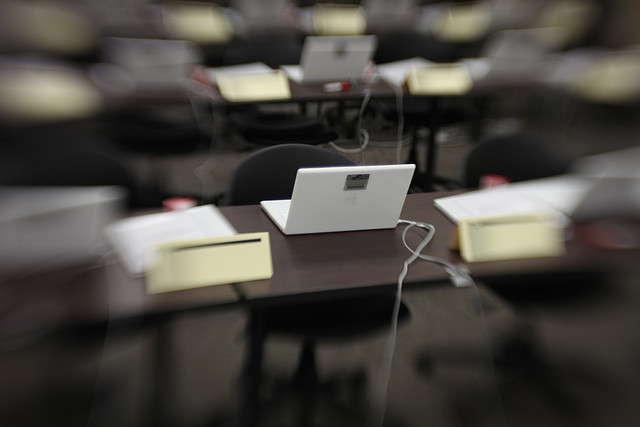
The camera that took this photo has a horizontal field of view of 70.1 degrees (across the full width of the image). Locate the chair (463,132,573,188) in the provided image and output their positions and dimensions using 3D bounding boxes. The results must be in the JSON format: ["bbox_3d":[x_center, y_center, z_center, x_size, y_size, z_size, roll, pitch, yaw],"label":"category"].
[{"bbox_3d":[0.695,-0.206,1.645,0.196,0.237,0.218,6,16,20],"label":"chair"}]

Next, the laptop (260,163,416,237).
[{"bbox_3d":[0.071,-0.038,1.153,0.265,0.149,0.233,-4,22,-15],"label":"laptop"}]

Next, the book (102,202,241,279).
[{"bbox_3d":[-0.386,0.038,1.110,0.221,0.041,0.202,-10,26,-23],"label":"book"}]

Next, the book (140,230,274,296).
[{"bbox_3d":[-0.256,0.098,1.041,0.283,0.144,0.129,-9,38,-9],"label":"book"}]

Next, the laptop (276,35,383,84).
[{"bbox_3d":[0.040,-0.723,2.136,0.469,0.282,0.218,-5,38,-3],"label":"laptop"}]

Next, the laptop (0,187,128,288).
[{"bbox_3d":[-0.571,0.058,1.000,0.303,0.038,0.176,-14,41,-23],"label":"laptop"}]

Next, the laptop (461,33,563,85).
[{"bbox_3d":[0.663,-0.481,1.503,0.253,0.149,0.059,-3,3,7],"label":"laptop"}]
